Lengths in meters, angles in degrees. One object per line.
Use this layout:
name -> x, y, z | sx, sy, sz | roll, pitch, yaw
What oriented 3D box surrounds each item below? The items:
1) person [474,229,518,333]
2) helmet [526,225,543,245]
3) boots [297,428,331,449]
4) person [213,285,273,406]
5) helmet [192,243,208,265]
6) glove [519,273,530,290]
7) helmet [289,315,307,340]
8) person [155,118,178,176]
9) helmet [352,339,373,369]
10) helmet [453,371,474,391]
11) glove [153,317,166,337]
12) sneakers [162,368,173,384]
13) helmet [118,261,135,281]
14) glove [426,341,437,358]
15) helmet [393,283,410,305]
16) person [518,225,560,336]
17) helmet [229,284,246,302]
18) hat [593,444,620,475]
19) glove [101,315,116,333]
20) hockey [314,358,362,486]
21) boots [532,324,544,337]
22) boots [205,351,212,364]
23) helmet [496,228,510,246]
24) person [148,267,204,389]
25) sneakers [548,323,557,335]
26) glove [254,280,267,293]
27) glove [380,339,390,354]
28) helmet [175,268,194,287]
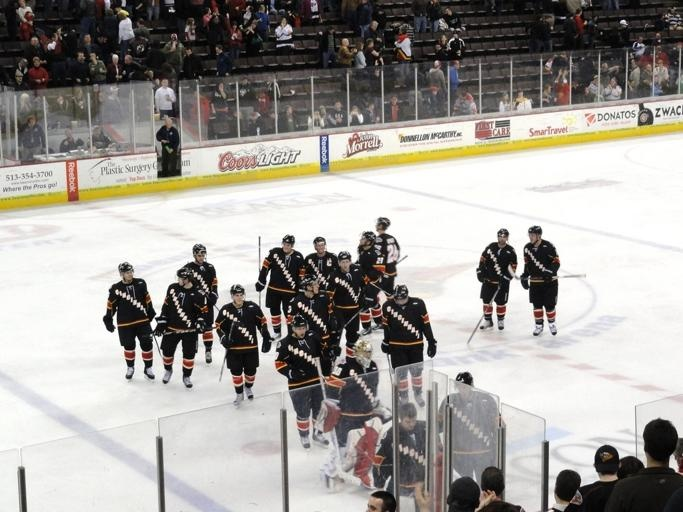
person -> 2.930, 0.472, 22.520 | 0.732, 1.898, 0.770 | -2, 7, 7
helmet -> 3.643, -0.370, 22.340 | 0.384, 0.398, 0.314 | 0, 2, -25
boots -> -0.377, 2.441, 15.796 | 0.432, 0.296, 0.155 | -3, 6, 32
person -> -1.643, 1.457, 19.904 | 0.887, 1.940, 0.629 | -4, 7, -6
helmet -> -2.517, -0.005, 21.869 | 0.336, 0.422, 0.402 | -2, 0, -25
glove -> 3.416, 0.521, 22.264 | 0.077, 0.276, 0.205 | -4, 33, 15
helmet -> -0.671, 1.140, 18.655 | 0.274, 0.295, 0.308 | -3, 15, -16
person -> -4.810, -2.950, 32.983 | 0.588, 1.623, 0.756 | -2, 6, 5
helmet -> 0.266, 1.488, 18.258 | 0.310, 0.367, 0.394 | -11, 14, -35
helmet -> 1.770, 1.781, 17.177 | 0.285, 0.363, 0.145 | -6, 22, 5
glove -> -3.116, 1.222, 20.497 | 0.225, 0.352, 0.191 | -4, 7, -12
sneakers -> -3.019, 2.110, 20.702 | 0.117, 0.307, 0.131 | 3, -19, 2
helmet -> -3.963, 0.312, 21.955 | 0.266, 0.331, 0.349 | -17, -8, -17
glove -> 1.501, 1.581, 19.900 | 0.207, 0.267, 0.098 | -2, 10, -9
helmet -> 0.984, 0.646, 19.717 | 0.248, 0.273, 0.302 | -1, 46, 7
person -> 3.697, 0.483, 22.314 | 0.707, 2.029, 0.629 | -2, 7, 7
helmet -> -1.743, 0.623, 19.815 | 0.243, 0.290, 0.305 | -6, -5, -12
hat -> 3.264, 2.512, 14.705 | 0.257, 0.194, 0.357 | -3, 17, 8
glove -> -4.038, 1.191, 20.669 | 0.206, 0.321, 0.097 | -14, 21, -19
hockey -> -0.128, 2.433, 16.091 | 0.178, 1.432, 0.535 | 3, 9, 42
boots -> 3.667, 1.411, 22.263 | 0.112, 0.216, 0.317 | 1, 19, 33
boots -> -2.418, 1.831, 21.618 | 0.109, 0.228, 0.317 | -3, 6, -5
helmet -> 3.022, -0.324, 22.391 | 0.255, 0.320, 0.341 | 1, 6, 7
person -> -2.761, 1.261, 20.568 | 0.919, 2.032, 0.427 | -4, 7, -6
sneakers -> 3.934, 1.381, 22.184 | 0.126, 0.237, 0.135 | -10, -5, 1
glove -> -1.546, 0.604, 22.553 | 0.229, 0.234, 0.238 | 6, 5, 1
glove -> 0.723, 1.536, 19.829 | 0.127, 0.247, 0.160 | -4, 6, -8
helmet -> -2.703, 0.390, 20.462 | 0.313, 0.314, 0.248 | 1, 18, -4
